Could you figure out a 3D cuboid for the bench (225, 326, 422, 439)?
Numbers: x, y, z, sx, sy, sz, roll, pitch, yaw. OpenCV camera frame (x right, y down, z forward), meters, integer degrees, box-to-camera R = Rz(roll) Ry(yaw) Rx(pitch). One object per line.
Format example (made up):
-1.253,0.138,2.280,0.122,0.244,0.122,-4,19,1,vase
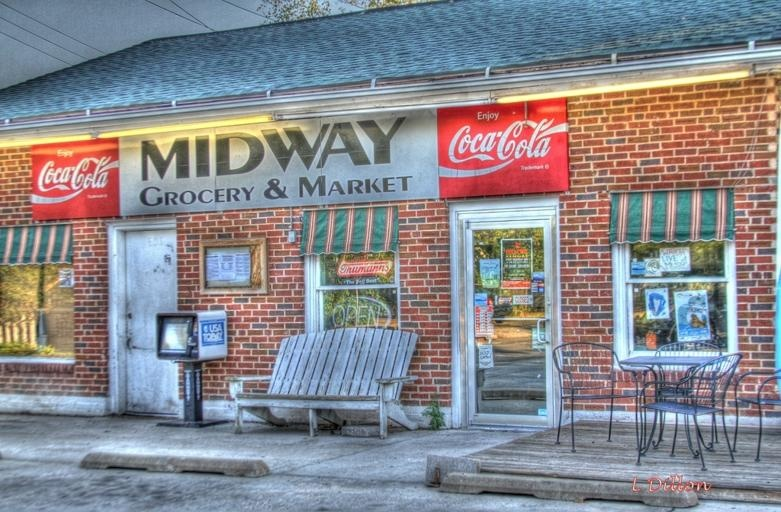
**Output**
-0.911,1.880,14.424,2.503,1.615,1.020,-2,-7,18,bench

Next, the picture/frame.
-2.536,0.142,15.374,0.161,0.761,1.309,-2,0,41,picture/frame

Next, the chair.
3.459,1.936,12.724,2.204,0.905,1.572,1,-4,-9,chair
